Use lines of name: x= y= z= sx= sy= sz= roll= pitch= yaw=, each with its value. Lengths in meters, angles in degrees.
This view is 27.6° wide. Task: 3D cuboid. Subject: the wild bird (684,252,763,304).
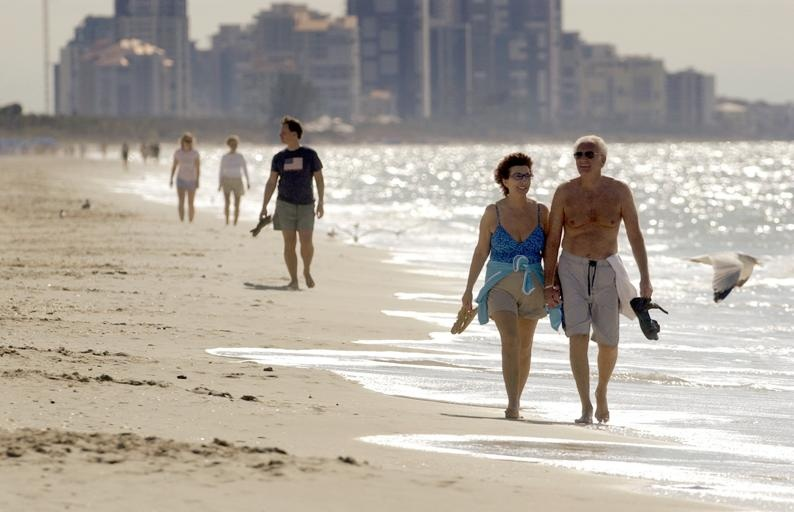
wild bird: x=4.849 y=0.213 z=23.605 sx=0.791 sy=0.364 sz=1.158 roll=23 pitch=24 yaw=11

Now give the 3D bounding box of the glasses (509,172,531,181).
glasses: x=1.775 y=-1.130 z=22.867 sx=0.284 sy=0.092 sz=0.037 roll=1 pitch=5 yaw=-1

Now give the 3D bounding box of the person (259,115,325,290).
person: x=-1.705 y=-0.893 z=27.054 sx=0.970 sy=2.872 sz=0.585 roll=1 pitch=5 yaw=-3

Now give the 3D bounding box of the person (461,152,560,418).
person: x=1.654 y=0.365 z=22.908 sx=1.234 sy=3.660 sz=0.867 roll=2 pitch=5 yaw=4

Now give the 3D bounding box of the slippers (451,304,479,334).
slippers: x=0.962 y=0.878 z=23.190 sx=0.278 sy=0.464 sz=0.112 roll=24 pitch=23 yaw=-21

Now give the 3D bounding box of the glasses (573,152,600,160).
glasses: x=2.678 y=-1.445 z=22.911 sx=0.284 sy=0.104 sz=0.069 roll=2 pitch=5 yaw=3

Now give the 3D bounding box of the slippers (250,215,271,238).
slippers: x=-2.545 y=-0.560 z=30.643 sx=0.704 sy=0.122 sz=0.278 roll=-26 pitch=-8 yaw=4
